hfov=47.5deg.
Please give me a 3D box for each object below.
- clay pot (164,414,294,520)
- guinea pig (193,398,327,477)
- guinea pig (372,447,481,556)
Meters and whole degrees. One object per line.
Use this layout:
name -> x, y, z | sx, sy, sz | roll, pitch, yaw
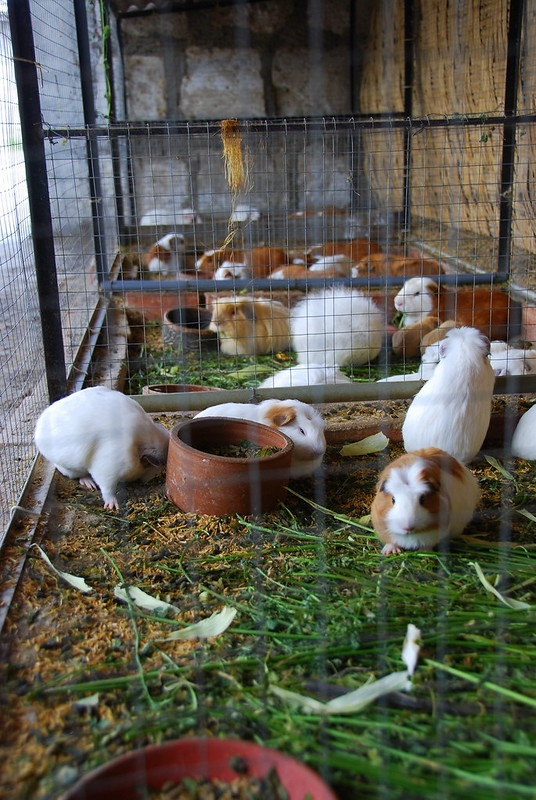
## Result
clay pot -> -0.146, 0.252, 2.267 | 0.440, 0.314, 0.363 | -6, 14, -15
guinea pig -> -0.018, 0.187, 2.504 | 0.455, 0.261, 0.323 | 19, 23, 19
guinea pig -> 0.492, 0.299, 1.988 | 0.331, 0.275, 0.496 | 1, 16, 26
